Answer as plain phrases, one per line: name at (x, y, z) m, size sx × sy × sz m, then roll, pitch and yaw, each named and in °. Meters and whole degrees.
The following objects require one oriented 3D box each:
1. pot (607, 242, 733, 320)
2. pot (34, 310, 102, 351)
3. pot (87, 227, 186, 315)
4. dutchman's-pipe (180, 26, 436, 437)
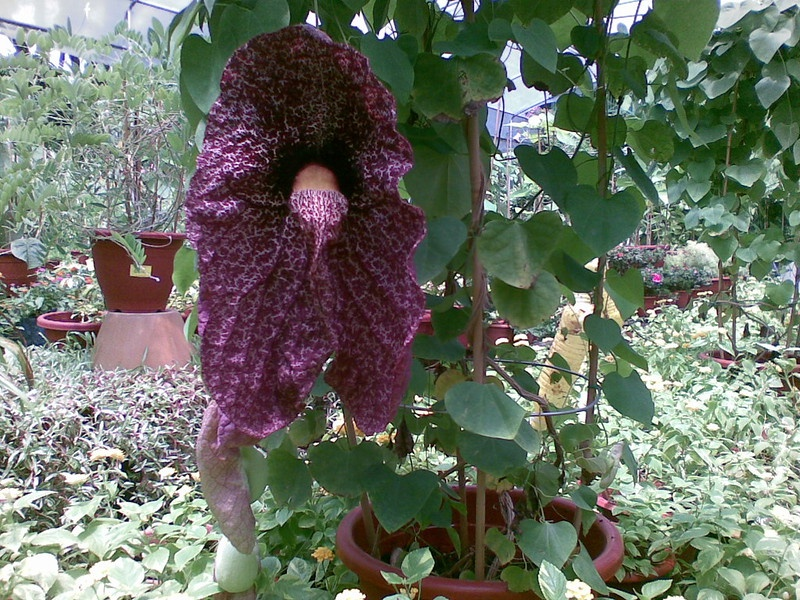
pot at (1.997, -0.139, 4.562) m, size 0.885 × 0.302 × 0.642 m, roll -6°, pitch 20°, yaw -15°
pot at (-1.695, 0.136, 3.234) m, size 0.281 × 0.110 × 0.271 m, roll 8°, pitch 4°, yaw 0°
pot at (-1.255, -0.113, 3.005) m, size 0.473 × 0.377 × 0.487 m, roll 0°, pitch 1°, yaw 0°
dutchman's-pipe at (-0.127, -0.070, 0.839) m, size 0.320 × 0.538 × 0.127 m, roll -1°, pitch 3°, yaw -16°
